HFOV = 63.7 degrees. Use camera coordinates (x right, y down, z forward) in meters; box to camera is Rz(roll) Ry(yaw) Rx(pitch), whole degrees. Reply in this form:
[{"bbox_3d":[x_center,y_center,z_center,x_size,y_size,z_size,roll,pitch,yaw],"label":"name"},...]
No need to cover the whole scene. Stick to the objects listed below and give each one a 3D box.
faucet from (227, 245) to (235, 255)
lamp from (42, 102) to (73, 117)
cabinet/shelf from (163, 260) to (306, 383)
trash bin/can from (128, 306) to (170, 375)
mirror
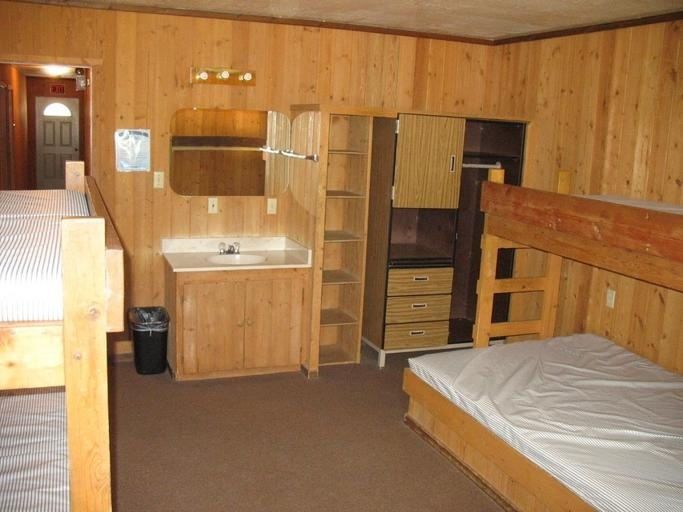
[{"bbox_3d":[-1.004,-0.051,5.073,0.092,0.088,0.051,0,1,-10],"label":"faucet"},{"bbox_3d":[-5.793,-2.988,11.219,0.516,0.312,0.110,3,14,-8],"label":"lamp"},{"bbox_3d":[-0.953,0.559,4.748,1.075,0.895,0.406,-1,7,-17],"label":"cabinet/shelf"},{"bbox_3d":[-1.702,0.748,4.869,0.334,0.514,0.363,0,15,-20],"label":"trash bin/can"},{"bbox_3d":[-1.072,-0.986,5.062,0.901,0.642,0.267,-1,7,-18],"label":"mirror"}]
